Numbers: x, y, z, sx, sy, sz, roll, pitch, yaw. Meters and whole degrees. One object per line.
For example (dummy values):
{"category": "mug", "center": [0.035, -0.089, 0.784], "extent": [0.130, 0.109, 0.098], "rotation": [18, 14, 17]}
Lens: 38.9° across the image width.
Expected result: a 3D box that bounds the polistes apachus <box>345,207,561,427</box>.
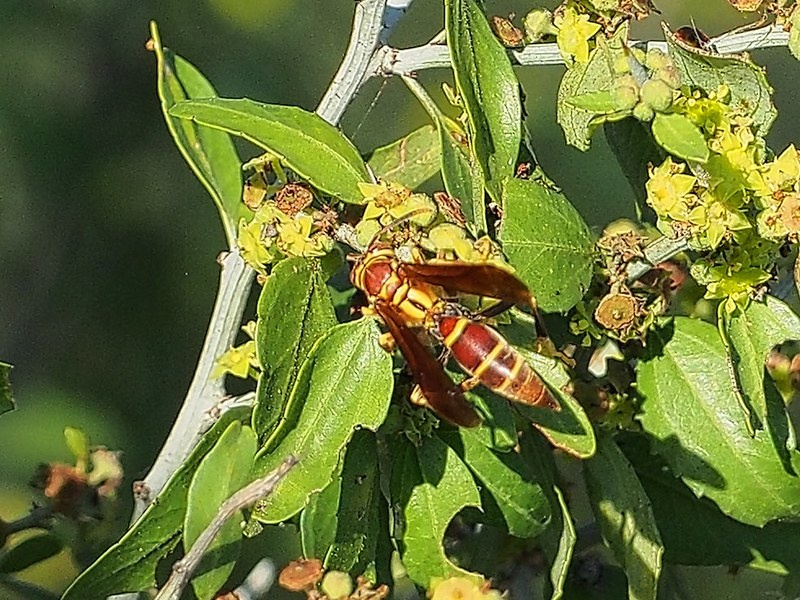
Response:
{"category": "polistes apachus", "center": [0.084, 0.057, 1.935], "extent": [0.405, 0.285, 0.134], "rotation": [38, -6, 15]}
